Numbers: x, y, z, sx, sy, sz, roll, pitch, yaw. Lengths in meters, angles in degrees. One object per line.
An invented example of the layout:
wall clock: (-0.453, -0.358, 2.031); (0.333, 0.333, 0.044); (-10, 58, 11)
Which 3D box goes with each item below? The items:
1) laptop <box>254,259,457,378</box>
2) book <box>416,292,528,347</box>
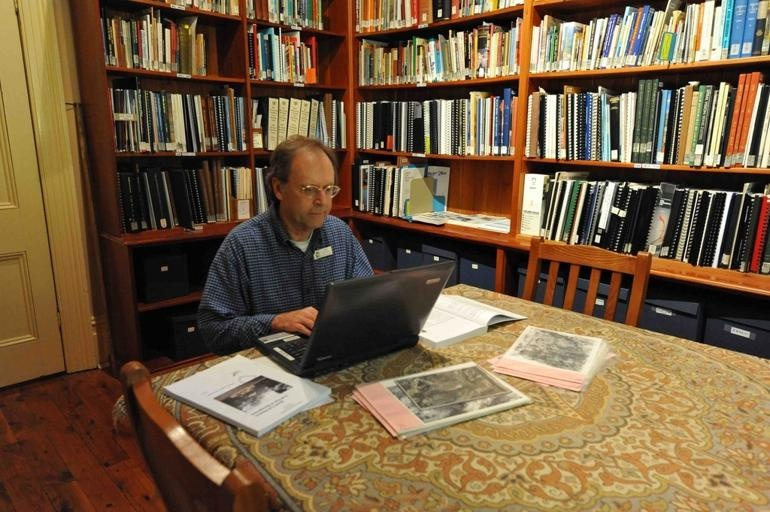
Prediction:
laptop: (-0.132, 0.165, 1.844); (0.558, 0.317, 0.555); (-11, 22, -36)
book: (0.282, 0.246, 2.207); (0.546, 0.034, 0.403); (-11, 22, -25)
